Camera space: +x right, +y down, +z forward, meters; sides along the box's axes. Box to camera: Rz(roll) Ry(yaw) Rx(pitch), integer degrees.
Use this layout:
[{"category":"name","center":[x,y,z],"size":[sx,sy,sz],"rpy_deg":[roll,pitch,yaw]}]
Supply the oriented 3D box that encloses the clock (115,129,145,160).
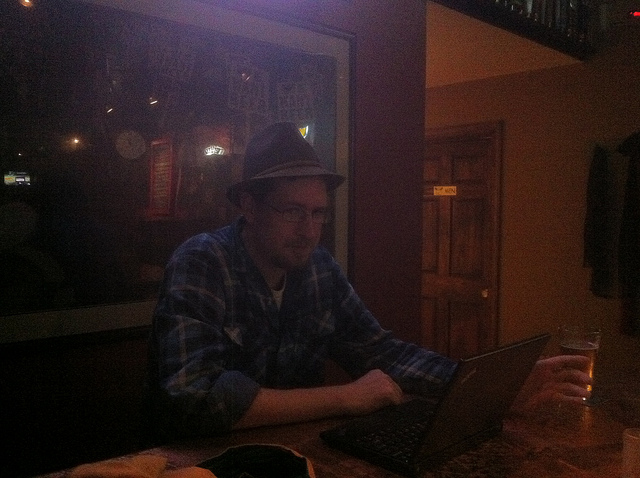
[{"category":"clock","center":[-0.612,-0.298,1.671],"size":[0.088,0.093,0.020],"rpy_deg":[-5,9,-33]}]

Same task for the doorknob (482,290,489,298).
[{"category":"doorknob","center":[1.399,0.466,4.410],"size":[0.039,0.057,0.025],"rpy_deg":[4,1,30]}]

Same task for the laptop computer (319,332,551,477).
[{"category":"laptop computer","center":[0.290,0.348,1.450],"size":[0.394,0.274,0.430],"rpy_deg":[1,3,45]}]
